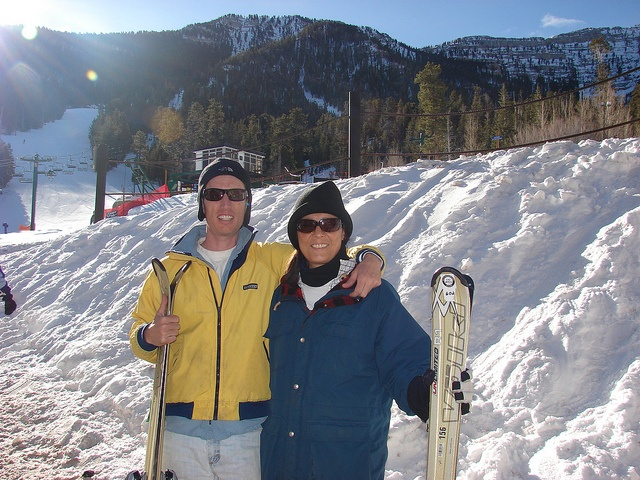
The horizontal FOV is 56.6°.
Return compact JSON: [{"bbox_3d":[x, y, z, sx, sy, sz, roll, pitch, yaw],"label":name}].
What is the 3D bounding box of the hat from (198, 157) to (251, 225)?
[{"bbox_3d":[-1.020,-0.506,6.798,0.517,0.743,0.758,3,-22,-9],"label":"hat"}]
